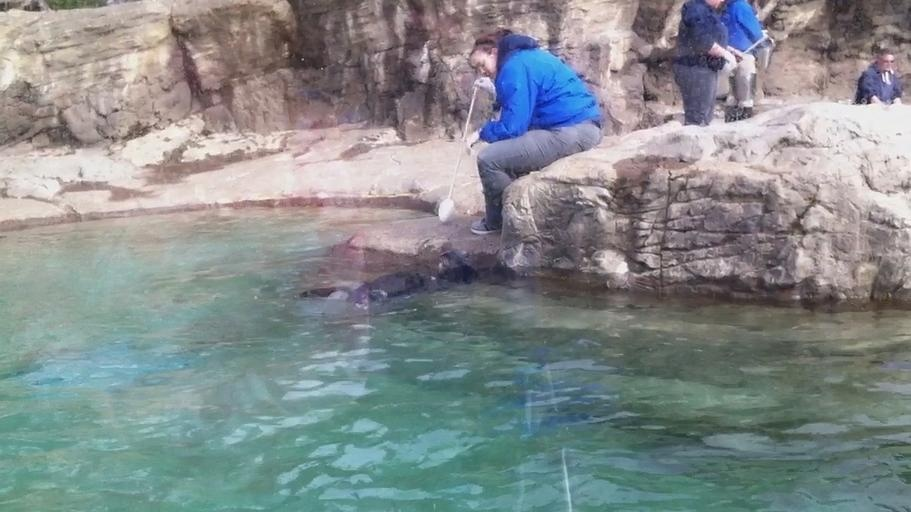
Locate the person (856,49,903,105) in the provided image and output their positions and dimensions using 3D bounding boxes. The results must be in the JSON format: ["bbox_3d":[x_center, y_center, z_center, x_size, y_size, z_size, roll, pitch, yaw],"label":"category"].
[{"bbox_3d":[5.870,-2.502,11.386,0.525,0.756,0.762,-1,6,26],"label":"person"}]

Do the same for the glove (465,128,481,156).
[{"bbox_3d":[0.196,-1.313,9.603,0.175,0.248,0.478,9,-6,2],"label":"glove"}]

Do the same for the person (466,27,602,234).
[{"bbox_3d":[0.836,-1.405,9.191,1.475,2.288,0.438,-4,7,0],"label":"person"}]
